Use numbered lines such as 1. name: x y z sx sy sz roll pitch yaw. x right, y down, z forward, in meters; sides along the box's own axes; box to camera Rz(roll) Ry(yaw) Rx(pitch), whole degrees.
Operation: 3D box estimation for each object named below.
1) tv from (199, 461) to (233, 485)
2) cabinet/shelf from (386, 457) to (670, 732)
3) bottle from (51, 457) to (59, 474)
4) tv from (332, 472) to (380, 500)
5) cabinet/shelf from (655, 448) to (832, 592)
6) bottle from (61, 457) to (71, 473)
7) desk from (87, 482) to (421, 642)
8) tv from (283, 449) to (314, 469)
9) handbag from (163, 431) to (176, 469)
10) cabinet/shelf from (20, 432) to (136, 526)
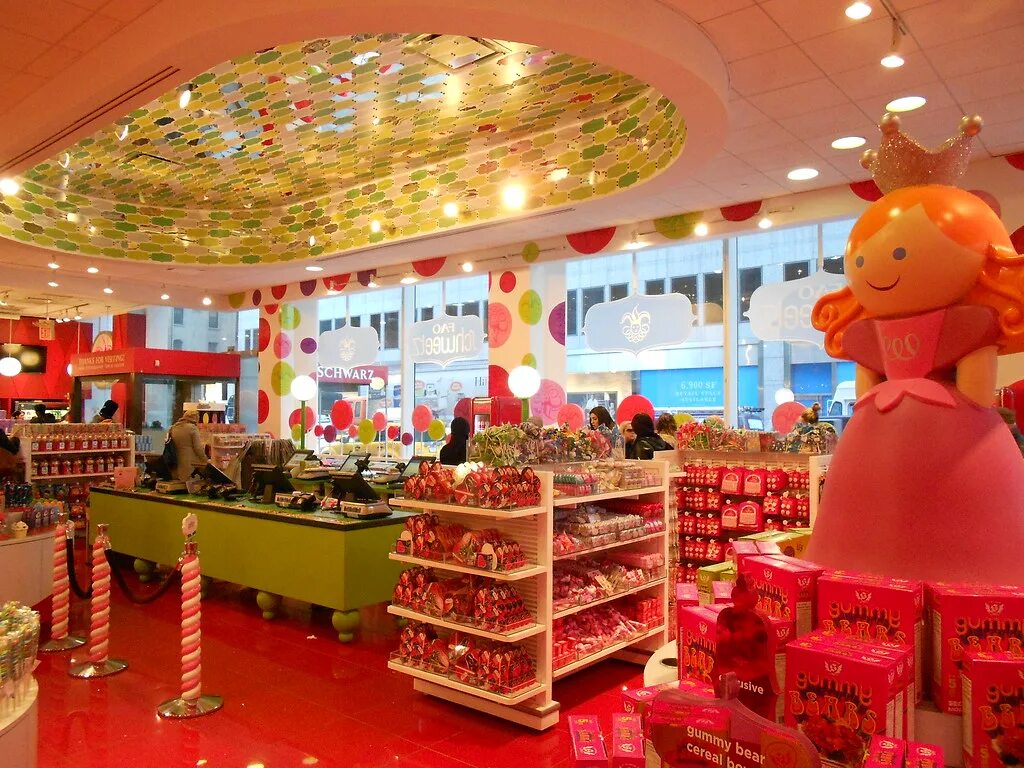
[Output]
1. tv: -2.984 0.900 7.340 0.241 0.254 0.073 -41 8 46
2. cabinet/shelf: 0.036 1.188 5.104 1.445 1.630 2.362 2 1 39
3. bottle: -5.923 1.059 9.387 0.077 0.147 0.123 0 0 -22
4. tv: -1.319 0.877 6.011 0.317 0.082 0.283 -12 -31 40
5. cabinet/shelf: 1.710 0.993 5.469 1.150 0.995 0.569 0 0 23
6. bottle: -5.863 1.071 9.503 0.123 0.149 0.093 0 0 -32
7. desk: -2.856 1.546 7.170 4.614 0.947 0.772 0 0 37
8. tv: -2.278 0.828 7.792 0.190 0.066 0.270 -17 9 -25
9. handbag: -3.814 0.741 8.003 0.124 0.290 0.217 0 0 -38
10. cabinet/shelf: -5.281 1.141 8.713 0.472 1.172 1.189 -2 -3 33
